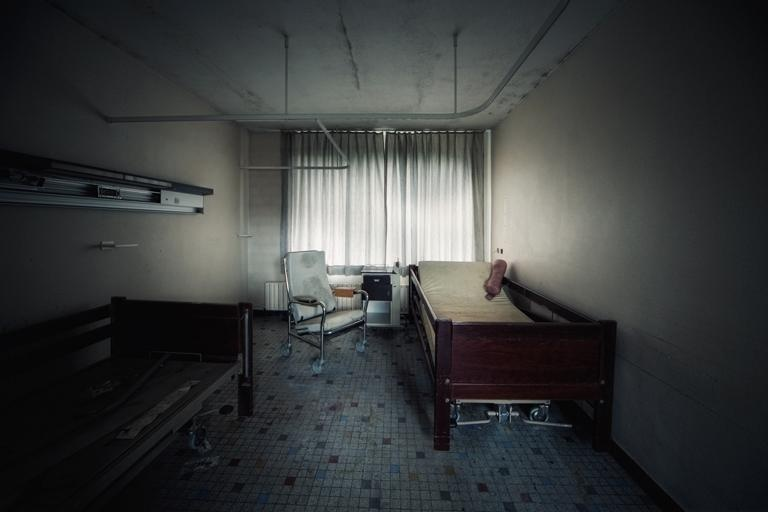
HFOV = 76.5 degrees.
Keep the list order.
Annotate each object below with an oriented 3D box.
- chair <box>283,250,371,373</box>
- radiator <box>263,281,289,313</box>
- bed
[{"bbox_3d":[-0.702,0.629,6.010,0.974,1.268,0.953,-4,12,-27],"label":"chair"},{"bbox_3d":[-1.593,0.608,7.263,0.510,0.491,0.269,1,7,1],"label":"radiator"},{"bbox_3d":[1.203,0.875,5.625,1.616,1.350,2.955,-1,6,-2],"label":"bed"}]
